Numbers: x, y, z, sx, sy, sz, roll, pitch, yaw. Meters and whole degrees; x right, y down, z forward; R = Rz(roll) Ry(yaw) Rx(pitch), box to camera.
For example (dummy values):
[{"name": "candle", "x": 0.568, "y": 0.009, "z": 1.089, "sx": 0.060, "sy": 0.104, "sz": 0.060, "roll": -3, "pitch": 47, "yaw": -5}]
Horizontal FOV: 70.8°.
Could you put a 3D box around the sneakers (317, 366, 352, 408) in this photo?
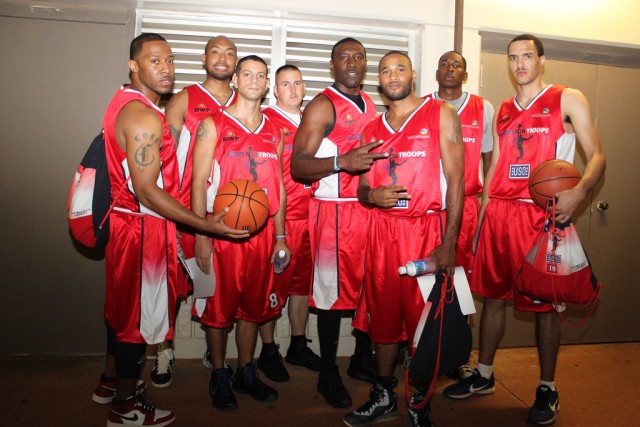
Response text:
[{"name": "sneakers", "x": 0.111, "y": 1.405, "z": 3.710, "sx": 0.188, "sy": 0.269, "sz": 0.427, "roll": 11, "pitch": -1, "yaw": -27}]

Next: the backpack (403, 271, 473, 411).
[{"name": "backpack", "x": 0.840, "y": 0.807, "z": 3.215, "sx": 0.469, "sy": 0.792, "sz": 0.180, "roll": -2, "pitch": 13, "yaw": -14}]

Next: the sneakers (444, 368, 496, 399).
[{"name": "sneakers", "x": 1.264, "y": 1.446, "z": 3.896, "sx": 0.489, "sy": 0.238, "sz": 0.176, "roll": -4, "pitch": 8, "yaw": -13}]

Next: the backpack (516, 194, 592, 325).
[{"name": "backpack", "x": 1.851, "y": 0.297, "z": 3.526, "sx": 0.612, "sy": 0.790, "sz": 0.411, "roll": 4, "pitch": 11, "yaw": 28}]

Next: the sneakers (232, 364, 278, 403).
[{"name": "sneakers", "x": -0.546, "y": 1.369, "z": 3.747, "sx": 0.420, "sy": 0.275, "sz": 0.173, "roll": 9, "pitch": 11, "yaw": 28}]

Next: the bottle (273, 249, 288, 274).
[{"name": "bottle", "x": -0.315, "y": 0.378, "z": 3.609, "sx": 0.116, "sy": 0.172, "sz": 0.066, "roll": 17, "pitch": 7, "yaw": -4}]

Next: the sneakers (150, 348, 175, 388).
[{"name": "sneakers", "x": -1.371, "y": 1.350, "z": 3.938, "sx": 0.127, "sy": 0.147, "sz": 0.361, "roll": 0, "pitch": 11, "yaw": -6}]

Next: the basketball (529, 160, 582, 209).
[{"name": "basketball", "x": 1.798, "y": -0.239, "z": 3.595, "sx": 0.358, "sy": 0.372, "sz": 0.367, "roll": 16, "pitch": 7, "yaw": 9}]

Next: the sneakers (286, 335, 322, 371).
[{"name": "sneakers", "x": -0.101, "y": 1.312, "z": 4.249, "sx": 0.440, "sy": 0.301, "sz": 0.179, "roll": -1, "pitch": -4, "yaw": 30}]

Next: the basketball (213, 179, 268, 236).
[{"name": "basketball", "x": -0.550, "y": -0.060, "z": 3.361, "sx": 0.360, "sy": 0.406, "sz": 0.379, "roll": 8, "pitch": 3, "yaw": 29}]
